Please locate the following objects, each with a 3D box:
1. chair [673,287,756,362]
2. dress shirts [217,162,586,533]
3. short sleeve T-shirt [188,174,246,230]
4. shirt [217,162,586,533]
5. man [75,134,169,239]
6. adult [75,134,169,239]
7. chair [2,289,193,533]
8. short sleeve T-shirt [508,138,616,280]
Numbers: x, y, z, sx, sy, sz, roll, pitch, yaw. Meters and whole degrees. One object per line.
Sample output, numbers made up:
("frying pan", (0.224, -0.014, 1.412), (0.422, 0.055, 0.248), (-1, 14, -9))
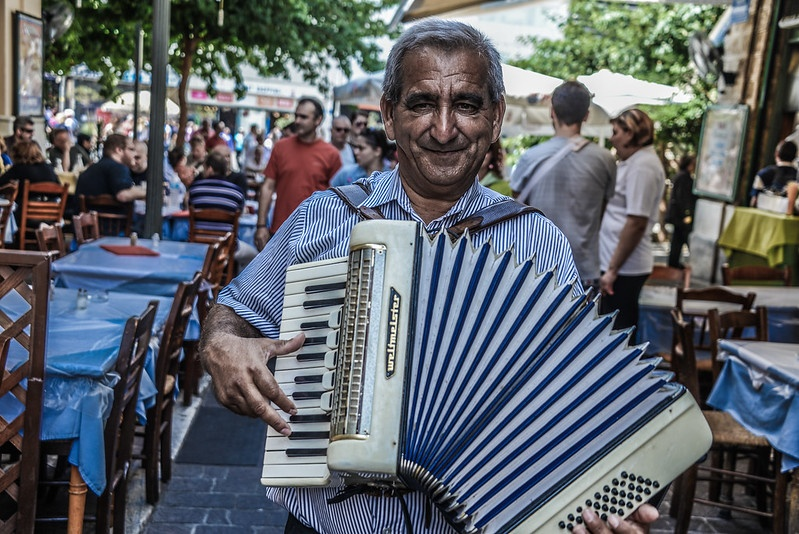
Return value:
("chair", (2.594, 0.479, 8.418), (0.364, 0.690, 0.431), (3, 34, 7))
("dress shirts", (-0.142, 0.320, 6.293), (1.515, 0.719, 2.197), (24, 44, 22))
("short sleeve T-shirt", (-2.130, -0.748, 12.021), (0.519, 0.814, 0.415), (6, -25, -18))
("shirt", (-0.169, 0.374, 6.254), (1.515, 0.719, 2.197), (24, 44, 22))
("man", (-3.266, -0.971, 12.060), (0.747, 1.236, 1.320), (-10, 21, -31))
("adult", (-3.325, -1.092, 12.110), (0.747, 1.236, 1.320), (-10, 21, -31))
("chair", (-2.310, 0.894, 7.417), (0.996, 1.146, 1.387), (4, 8, 0))
("short sleeve T-shirt", (1.281, -0.469, 7.962), (0.974, 1.499, 0.688), (-2, 12, 2))
